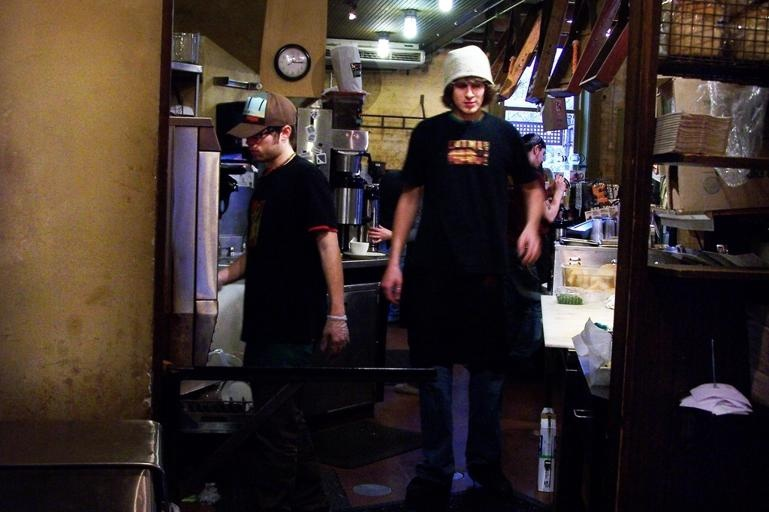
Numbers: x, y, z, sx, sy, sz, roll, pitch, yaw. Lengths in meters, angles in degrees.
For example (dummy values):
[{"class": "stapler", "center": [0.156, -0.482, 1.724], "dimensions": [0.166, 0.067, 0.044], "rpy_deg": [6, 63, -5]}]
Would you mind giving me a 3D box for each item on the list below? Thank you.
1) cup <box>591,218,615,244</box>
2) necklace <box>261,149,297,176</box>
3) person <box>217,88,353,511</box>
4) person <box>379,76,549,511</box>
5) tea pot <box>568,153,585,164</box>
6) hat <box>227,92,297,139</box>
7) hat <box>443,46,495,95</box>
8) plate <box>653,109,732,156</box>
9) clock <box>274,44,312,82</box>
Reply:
[{"class": "cup", "center": [1.441, -0.162, 4.195], "dimensions": [0.163, 0.171, 0.383], "rpy_deg": [2, 4, 18]}, {"class": "necklace", "center": [-0.478, -0.422, 2.888], "dimensions": [0.130, 0.066, 0.096], "rpy_deg": [-35, 13, -8]}, {"class": "person", "center": [-0.486, 0.209, 2.905], "dimensions": [0.493, 1.933, 0.472], "rpy_deg": [3, 3, 38]}, {"class": "person", "center": [0.355, 0.190, 2.917], "dimensions": [0.728, 1.953, 0.217], "rpy_deg": [1, 3, 2]}, {"class": "tea pot", "center": [2.821, -1.444, 9.467], "dimensions": [0.214, 0.204, 0.421], "rpy_deg": [3, 4, 32]}, {"class": "hat", "center": [-0.577, -0.666, 2.987], "dimensions": [0.356, 0.168, 0.222], "rpy_deg": [-20, 37, -35]}, {"class": "hat", "center": [0.382, -0.839, 2.857], "dimensions": [0.203, 0.144, 0.153], "rpy_deg": [0, 9, 2]}, {"class": "plate", "center": [1.103, -0.426, 2.219], "dimensions": [0.165, 0.078, 0.205], "rpy_deg": [0, 4, -6]}, {"class": "clock", "center": [-0.718, -1.482, 4.879], "dimensions": [0.289, 0.275, 0.030], "rpy_deg": [2, 7, -7]}]
